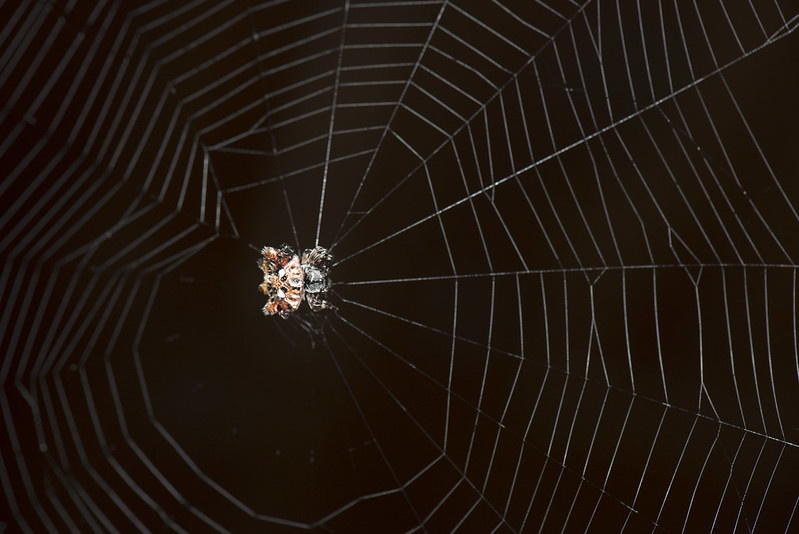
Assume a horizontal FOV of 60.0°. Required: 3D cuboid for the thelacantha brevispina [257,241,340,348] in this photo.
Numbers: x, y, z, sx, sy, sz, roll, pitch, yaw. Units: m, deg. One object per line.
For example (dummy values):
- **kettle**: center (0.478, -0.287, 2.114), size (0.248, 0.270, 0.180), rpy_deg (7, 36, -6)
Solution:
- **thelacantha brevispina**: center (-0.840, 0.087, 5.875), size (0.804, 0.282, 0.825), rpy_deg (-24, -60, -9)
